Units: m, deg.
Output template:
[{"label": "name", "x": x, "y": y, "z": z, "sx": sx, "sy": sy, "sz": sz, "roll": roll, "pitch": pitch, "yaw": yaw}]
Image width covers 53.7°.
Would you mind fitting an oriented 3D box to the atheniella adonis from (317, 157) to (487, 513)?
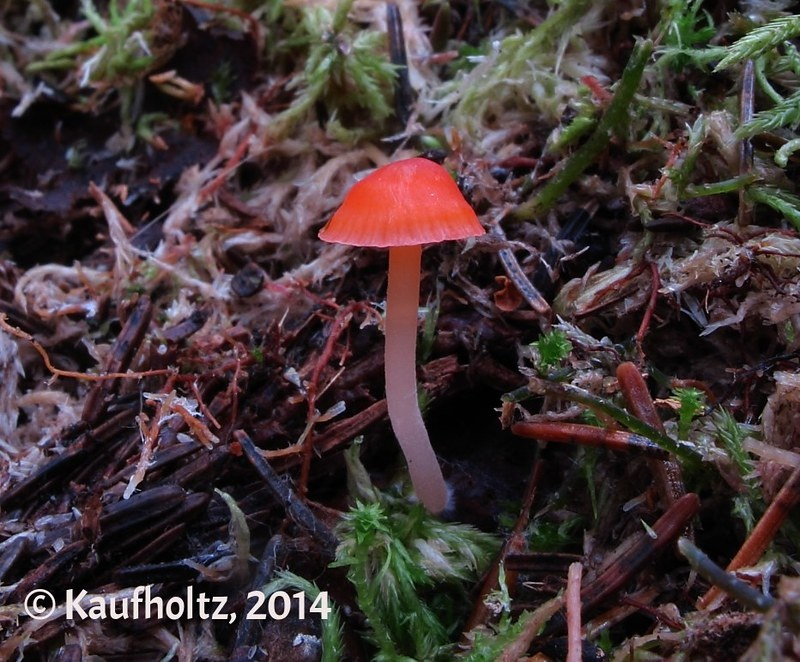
[{"label": "atheniella adonis", "x": 0.014, "y": 0.044, "z": 2.355, "sx": 0.517, "sy": 0.561, "sz": 1.029, "roll": -6, "pitch": 97, "yaw": -47}]
